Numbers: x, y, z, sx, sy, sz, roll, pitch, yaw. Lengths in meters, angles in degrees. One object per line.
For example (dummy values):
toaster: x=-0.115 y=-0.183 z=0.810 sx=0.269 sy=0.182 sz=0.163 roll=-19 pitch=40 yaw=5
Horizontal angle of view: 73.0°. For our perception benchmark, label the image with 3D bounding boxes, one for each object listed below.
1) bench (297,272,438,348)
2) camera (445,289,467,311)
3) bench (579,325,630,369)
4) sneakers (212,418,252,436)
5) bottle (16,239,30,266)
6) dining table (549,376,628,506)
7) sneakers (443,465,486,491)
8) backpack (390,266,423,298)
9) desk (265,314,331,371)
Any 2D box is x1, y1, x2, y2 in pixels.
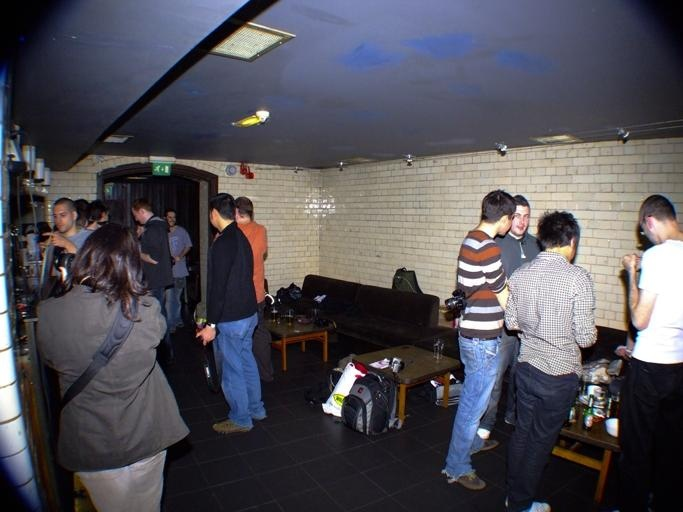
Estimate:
bench: x=0.647 y=0.848 z=7.610 sx=0.870 sy=0.886 sz=2.941 roll=-3 pitch=8 yaw=-42
camera: x=0.919 y=0.357 z=3.812 sx=0.192 sy=0.179 sz=0.126 roll=-8 pitch=7 yaw=-23
bench: x=3.205 y=1.128 z=5.624 sx=0.599 sy=0.136 sz=0.400 roll=-23 pitch=31 yaw=-35
sneakers: x=-1.101 y=1.703 z=4.707 sx=0.382 sy=0.159 sz=0.138 roll=9 pitch=-4 yaw=-6
bottle: x=-2.115 y=-0.031 z=3.071 sx=0.072 sy=0.164 sz=0.280 roll=-4 pitch=11 yaw=-30
dining table: x=2.246 y=1.585 z=4.169 sx=0.761 sy=0.718 sz=0.773 roll=16 pitch=21 yaw=32
sneakers: x=1.063 y=1.894 z=4.017 sx=0.357 sy=0.157 sz=0.132 roll=-1 pitch=1 yaw=23
backpack: x=1.172 y=0.443 z=8.113 sx=0.485 sy=0.410 sz=0.338 roll=19 pitch=-15 yaw=-4
desk: x=-0.620 y=1.158 z=6.606 sx=0.657 sy=0.417 sz=0.800 roll=1 pitch=2 yaw=-28
